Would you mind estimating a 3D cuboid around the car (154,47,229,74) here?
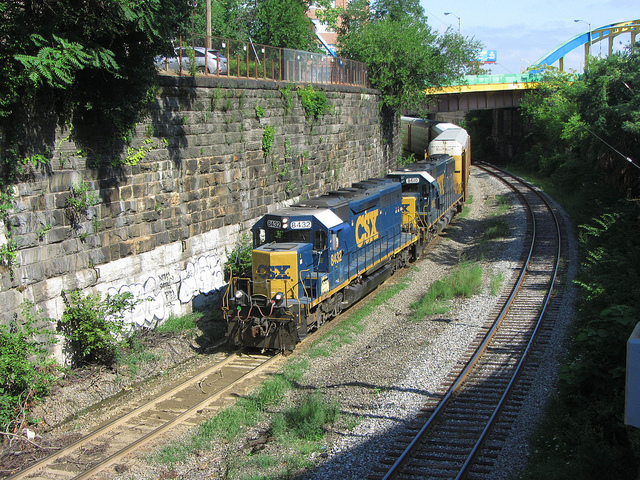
[{"bbox_3d":[-4.816,-7.237,21.006,2.520,1.091,1.235,-3,10,-33],"label":"car"}]
